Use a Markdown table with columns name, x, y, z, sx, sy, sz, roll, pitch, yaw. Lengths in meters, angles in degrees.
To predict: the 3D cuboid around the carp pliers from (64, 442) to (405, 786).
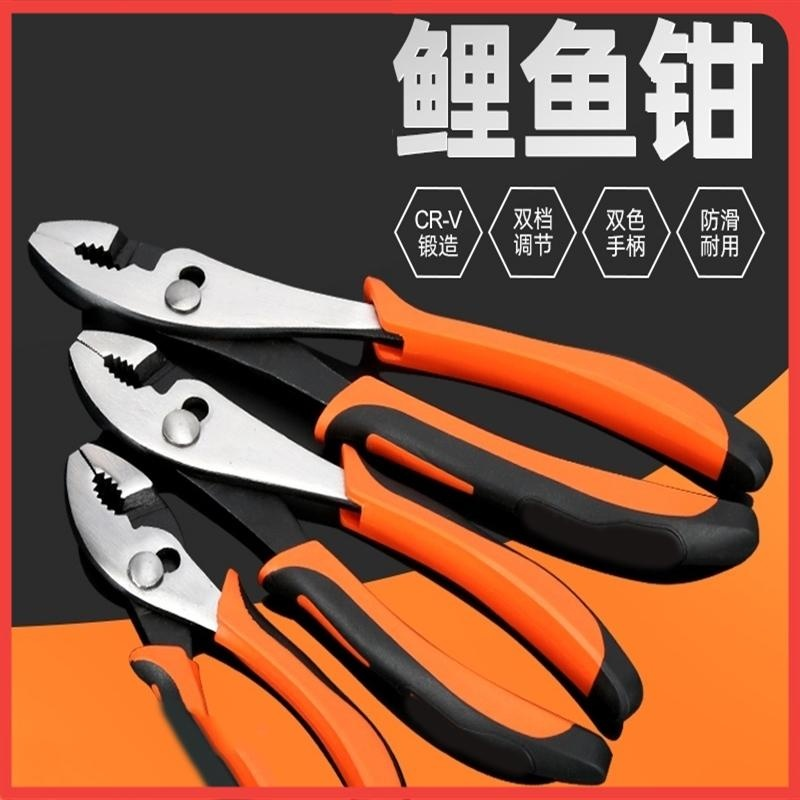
| name | x | y | z | sx | sy | sz | roll | pitch | yaw |
| --- | --- | --- | --- | --- | --- | --- | --- | --- | --- |
| carp pliers | -0.249 | 0.313 | 1.220 | 0.689 | 0.211 | 0.078 | 45 | -23 | 24 |

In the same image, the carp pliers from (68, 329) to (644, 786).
| name | x | y | z | sx | sy | sz | roll | pitch | yaw |
| --- | --- | --- | --- | --- | --- | --- | --- | --- | --- |
| carp pliers | -0.130 | 0.215 | 1.168 | 0.838 | 0.098 | 0.406 | 36 | 60 | 2 |
